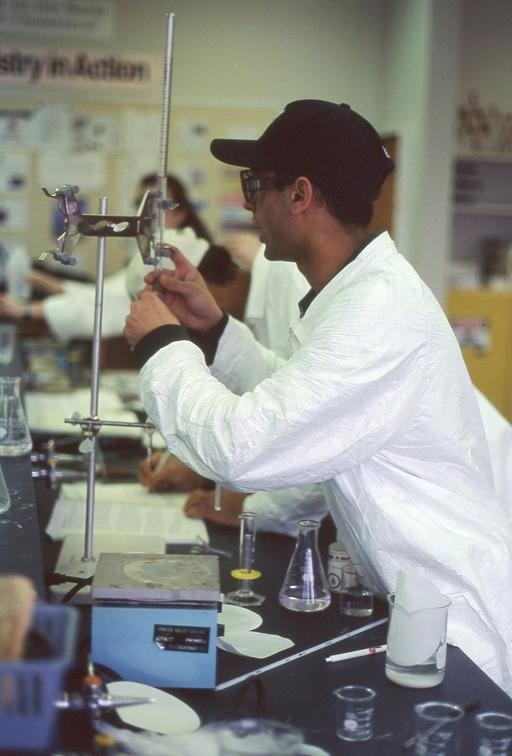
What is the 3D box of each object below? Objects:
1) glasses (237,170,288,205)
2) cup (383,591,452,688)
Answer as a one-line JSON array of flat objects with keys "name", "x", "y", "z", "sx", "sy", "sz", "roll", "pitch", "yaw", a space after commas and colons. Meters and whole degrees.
[{"name": "glasses", "x": 0.006, "y": -0.284, "z": 1.262, "sx": 0.076, "sy": 0.028, "sz": 0.049, "roll": -2, "pitch": 16, "yaw": -10}, {"name": "cup", "x": 0.189, "y": 0.312, "z": 0.998, "sx": 0.070, "sy": 0.099, "sz": 0.062, "roll": 2, "pitch": 5, "yaw": 8}]
